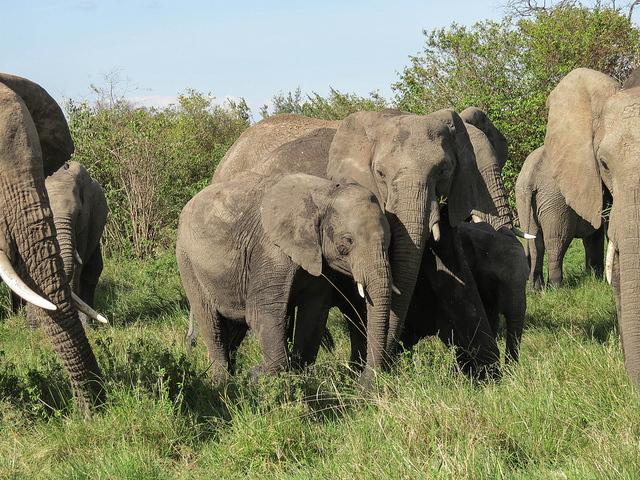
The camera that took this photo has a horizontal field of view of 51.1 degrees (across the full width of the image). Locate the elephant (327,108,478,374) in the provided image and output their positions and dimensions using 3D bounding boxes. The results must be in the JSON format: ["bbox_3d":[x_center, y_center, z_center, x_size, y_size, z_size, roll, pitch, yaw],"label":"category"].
[{"bbox_3d":[0.872,-0.096,6.463,1.457,2.318,3.382,-3,6,9],"label":"elephant"}]

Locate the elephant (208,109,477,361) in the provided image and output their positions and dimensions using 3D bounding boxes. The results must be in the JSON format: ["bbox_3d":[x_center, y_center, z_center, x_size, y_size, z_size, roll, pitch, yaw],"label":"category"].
[{"bbox_3d":[0.263,-0.492,6.859,3.058,2.016,1.596,1,5,44],"label":"elephant"}]

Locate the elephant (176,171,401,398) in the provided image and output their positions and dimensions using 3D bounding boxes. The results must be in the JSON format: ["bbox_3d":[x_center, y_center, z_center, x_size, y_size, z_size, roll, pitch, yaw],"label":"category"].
[{"bbox_3d":[-0.345,0.418,5.431,1.854,1.801,0.937,-3,-2,26],"label":"elephant"}]
